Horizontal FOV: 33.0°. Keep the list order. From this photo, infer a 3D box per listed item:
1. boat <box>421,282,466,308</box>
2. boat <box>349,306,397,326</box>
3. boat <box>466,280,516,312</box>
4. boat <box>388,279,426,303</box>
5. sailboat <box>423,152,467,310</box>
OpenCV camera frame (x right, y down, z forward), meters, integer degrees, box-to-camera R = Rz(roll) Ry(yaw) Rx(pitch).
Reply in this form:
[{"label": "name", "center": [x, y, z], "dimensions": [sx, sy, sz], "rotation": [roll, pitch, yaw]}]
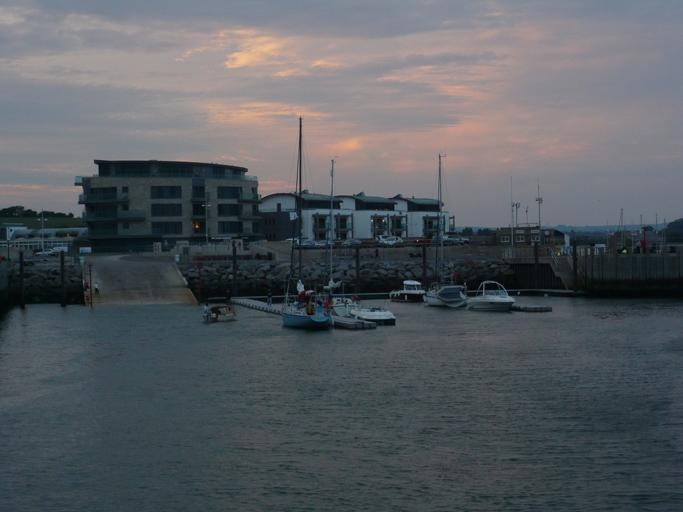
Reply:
[{"label": "boat", "center": [10.255, 3.981, 113.145], "dimensions": [2.782, 2.101, 4.678], "rotation": [-2, 1, -16]}, {"label": "boat", "center": [2.719, 5.200, 98.900], "dimensions": [3.715, 1.521, 2.779], "rotation": [-1, 1, 16]}, {"label": "boat", "center": [14.202, 3.882, 110.211], "dimensions": [3.979, 2.692, 5.678], "rotation": [-1, 1, 6]}, {"label": "boat", "center": [7.044, 3.690, 118.992], "dimensions": [2.696, 2.120, 4.797], "rotation": [-2, 2, -31]}, {"label": "sailboat", "center": [11.686, 0.402, 132.837], "dimensions": [3.628, 17.086, 3.030], "rotation": [5, 5, 11]}]
